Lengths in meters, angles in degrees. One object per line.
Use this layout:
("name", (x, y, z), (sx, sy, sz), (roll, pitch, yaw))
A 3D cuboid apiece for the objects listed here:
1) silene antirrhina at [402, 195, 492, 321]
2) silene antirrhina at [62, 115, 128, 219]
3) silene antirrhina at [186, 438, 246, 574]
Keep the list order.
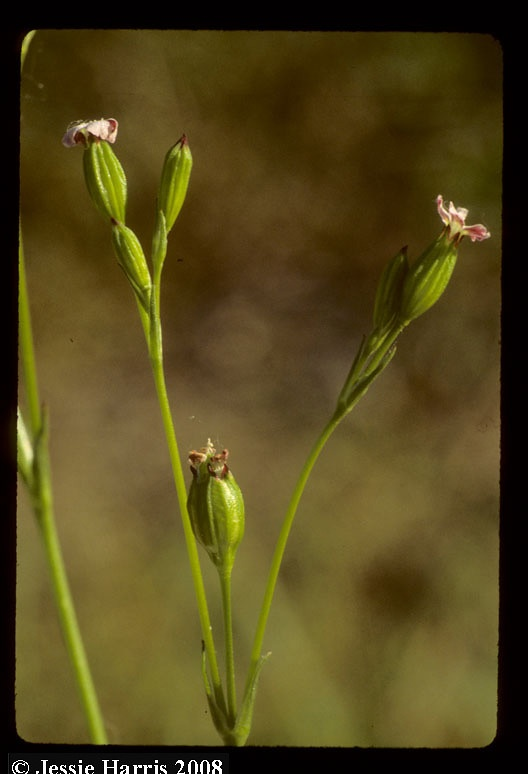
("silene antirrhina", (0.140, -0.100, 0.619), (0.044, 0.065, 0.098), (28, 51, 21))
("silene antirrhina", (-0.127, -0.165, 0.617), (0.036, 0.096, 0.037), (-17, 30, -15))
("silene antirrhina", (-0.039, 0.092, 0.603), (0.040, 0.079, 0.069), (-12, 48, -15))
